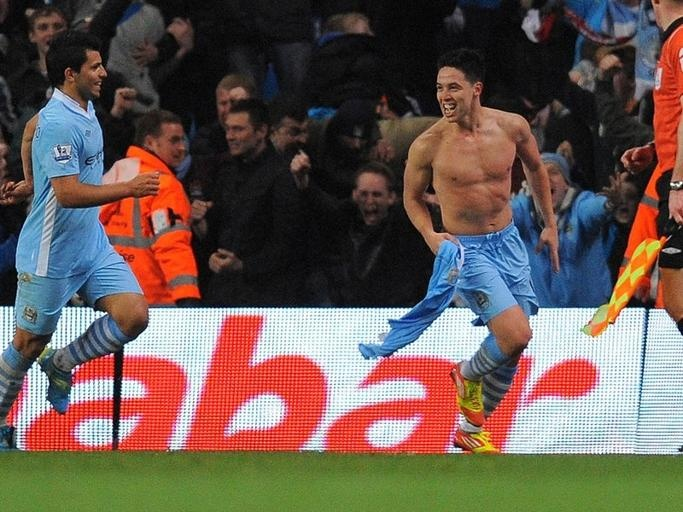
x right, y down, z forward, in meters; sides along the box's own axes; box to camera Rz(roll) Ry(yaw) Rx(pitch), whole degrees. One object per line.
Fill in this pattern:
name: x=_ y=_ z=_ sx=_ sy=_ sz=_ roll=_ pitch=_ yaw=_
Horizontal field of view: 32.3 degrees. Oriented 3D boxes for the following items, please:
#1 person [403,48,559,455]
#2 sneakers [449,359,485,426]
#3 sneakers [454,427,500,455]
person: x=0.874 y=-0.045 z=6.864 sx=0.785 sy=2.245 sz=0.809 roll=-12 pitch=25 yaw=-28
sneakers: x=0.734 y=0.796 z=6.822 sx=0.204 sy=0.358 sz=0.160 roll=2 pitch=22 yaw=3
sneakers: x=0.767 y=1.084 z=6.862 sx=0.340 sy=0.126 sz=0.108 roll=5 pitch=22 yaw=5
